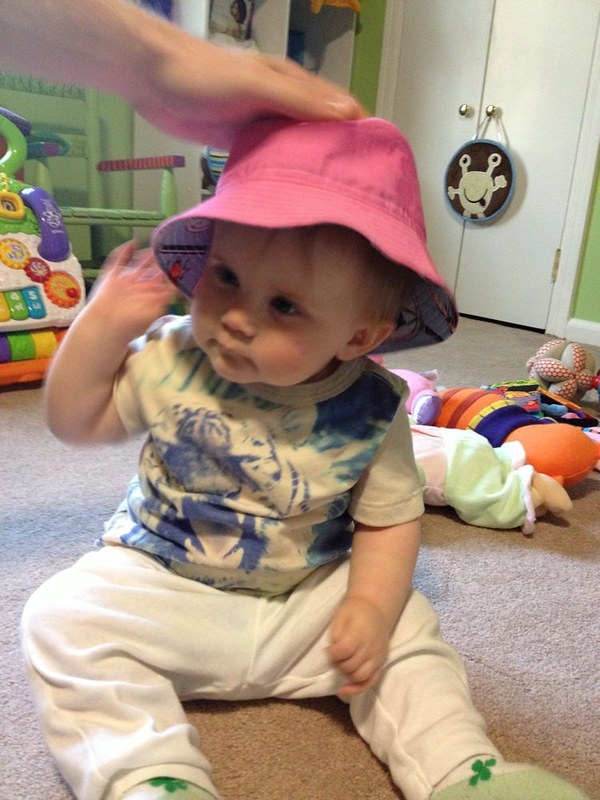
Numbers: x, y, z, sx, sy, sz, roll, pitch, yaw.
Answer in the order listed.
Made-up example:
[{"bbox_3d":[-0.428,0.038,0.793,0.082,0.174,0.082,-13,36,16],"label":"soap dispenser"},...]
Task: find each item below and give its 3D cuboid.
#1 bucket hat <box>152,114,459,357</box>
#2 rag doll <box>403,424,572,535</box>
[{"bbox_3d":[0.025,-0.104,0.579,0.184,0.111,0.224,7,-4,31],"label":"bucket hat"},{"bbox_3d":[0.268,0.115,1.038,0.225,0.073,0.162,23,19,9],"label":"rag doll"}]
